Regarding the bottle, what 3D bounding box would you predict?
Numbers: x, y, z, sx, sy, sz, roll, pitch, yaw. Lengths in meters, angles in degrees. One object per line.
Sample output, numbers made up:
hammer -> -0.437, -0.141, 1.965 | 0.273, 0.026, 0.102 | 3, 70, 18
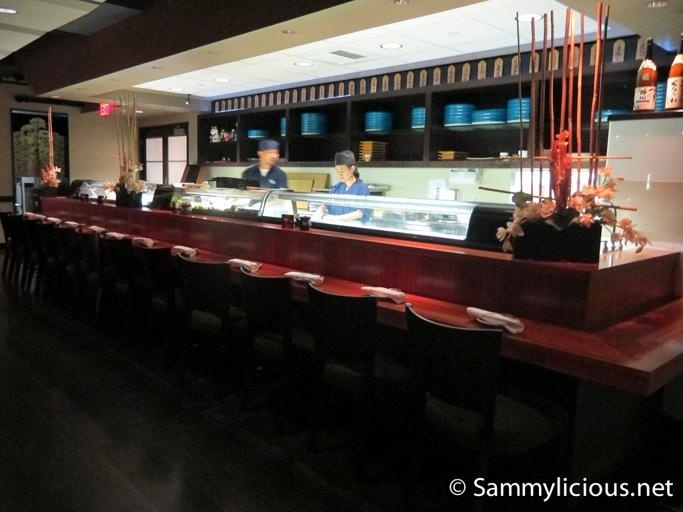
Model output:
bottle -> 2.000, -1.138, 3.176 | 0.242, 0.451, 0.677 | 5, 13, 29

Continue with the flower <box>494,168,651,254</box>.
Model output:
flower -> 1.105, -0.187, 2.536 | 0.651, 0.418, 0.322 | -11, -4, 19

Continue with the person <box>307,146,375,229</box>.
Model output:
person -> 0.004, -0.569, 4.814 | 0.641, 0.820, 0.499 | 4, 5, 39

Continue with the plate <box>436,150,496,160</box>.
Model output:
plate -> 1.339, -1.098, 5.429 | 0.641, 0.117, 0.483 | 5, 13, 29

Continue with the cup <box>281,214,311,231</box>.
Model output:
cup -> -0.317, -0.231, 3.501 | 0.268, 0.095, 0.082 | 6, 13, 26

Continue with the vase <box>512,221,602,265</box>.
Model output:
vase -> 1.036, -0.066, 2.417 | 0.320, 0.142, 0.223 | 3, 6, 28

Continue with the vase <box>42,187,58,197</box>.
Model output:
vase -> -4.090, -0.900, 7.071 | 0.206, 0.134, 0.184 | 0, 5, 2
